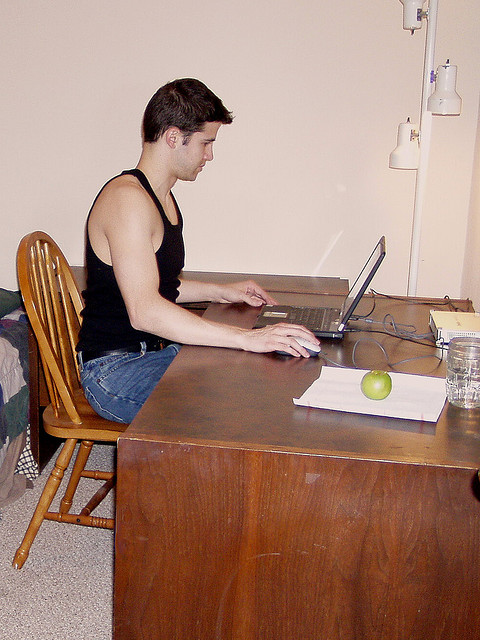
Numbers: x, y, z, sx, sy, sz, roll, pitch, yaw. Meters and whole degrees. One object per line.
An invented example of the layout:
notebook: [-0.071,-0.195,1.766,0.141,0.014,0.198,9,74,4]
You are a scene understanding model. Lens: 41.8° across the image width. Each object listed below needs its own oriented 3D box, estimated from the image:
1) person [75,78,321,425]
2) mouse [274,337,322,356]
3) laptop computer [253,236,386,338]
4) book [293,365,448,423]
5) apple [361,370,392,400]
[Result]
person: [-0.121,-0.177,1.591,0.574,0.822,0.600,4,14,5]
mouse: [0.137,0.055,1.326,0.070,0.023,0.041,3,25,4]
laptop computer: [0.198,-0.049,1.600,0.300,0.192,0.315,4,12,7]
book: [0.237,0.107,1.091,0.244,0.063,0.219,8,14,19]
apple: [0.223,0.107,1.045,0.047,0.048,0.046,0,23,-2]
